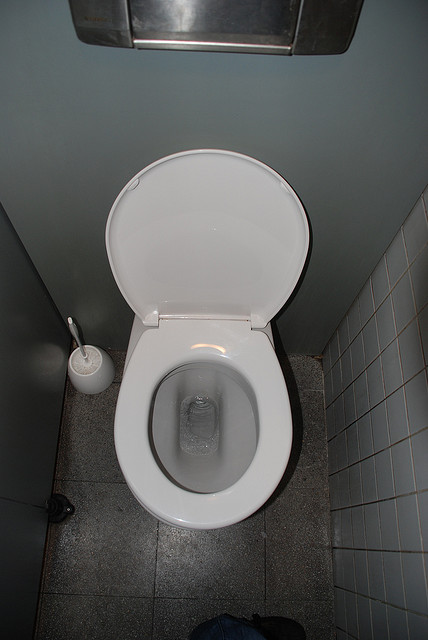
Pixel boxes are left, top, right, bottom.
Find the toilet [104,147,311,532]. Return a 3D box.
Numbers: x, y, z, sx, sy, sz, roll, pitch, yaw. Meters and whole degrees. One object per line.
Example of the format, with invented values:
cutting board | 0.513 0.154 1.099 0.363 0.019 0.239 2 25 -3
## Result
toilet | -0.013 0.117 0.887 0.311 0.750 0.555 0 43 -5
